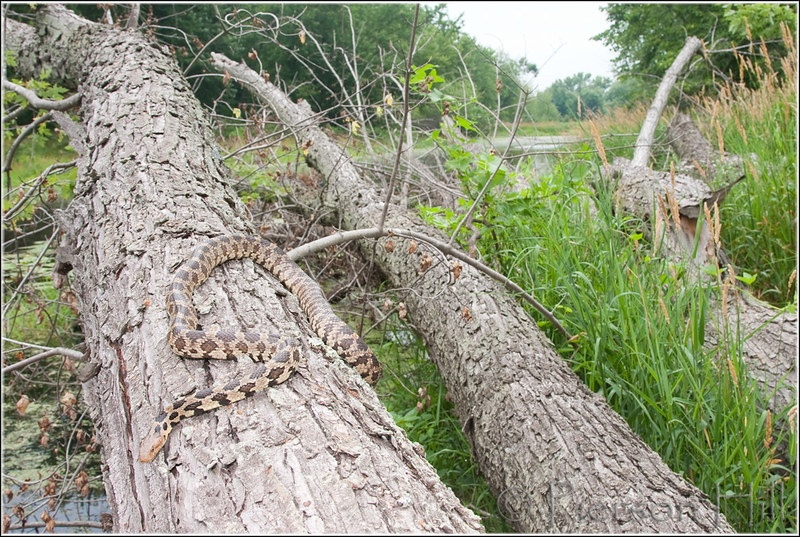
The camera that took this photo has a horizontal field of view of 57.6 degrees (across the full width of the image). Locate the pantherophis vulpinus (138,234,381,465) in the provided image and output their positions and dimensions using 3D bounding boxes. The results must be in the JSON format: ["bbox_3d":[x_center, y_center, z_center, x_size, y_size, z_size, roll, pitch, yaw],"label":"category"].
[{"bbox_3d":[-1.548,0.865,7.477,1.468,0.289,1.973,2,36,-16],"label":"pantherophis vulpinus"}]
